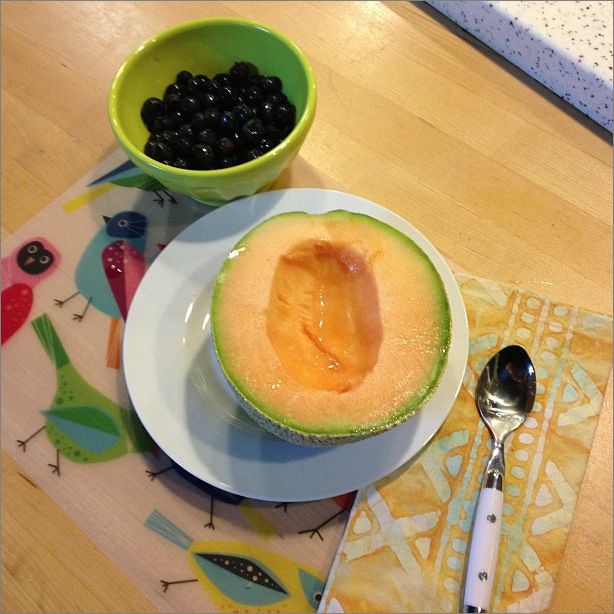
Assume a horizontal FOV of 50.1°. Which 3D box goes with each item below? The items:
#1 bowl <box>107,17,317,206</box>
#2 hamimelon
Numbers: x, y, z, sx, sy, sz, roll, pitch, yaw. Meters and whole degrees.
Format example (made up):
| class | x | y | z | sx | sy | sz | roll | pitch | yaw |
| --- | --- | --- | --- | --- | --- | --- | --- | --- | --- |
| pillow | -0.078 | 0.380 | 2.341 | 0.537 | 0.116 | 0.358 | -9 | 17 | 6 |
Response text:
| class | x | y | z | sx | sy | sz | roll | pitch | yaw |
| --- | --- | --- | --- | --- | --- | --- | --- | --- | --- |
| bowl | -0.117 | -0.250 | 0.817 | 0.245 | 0.111 | 0.237 | 1 | 75 | -6 |
| hamimelon | 0.022 | 0.022 | 0.733 | 0.253 | 0.117 | 0.260 | -4 | 76 | -7 |
